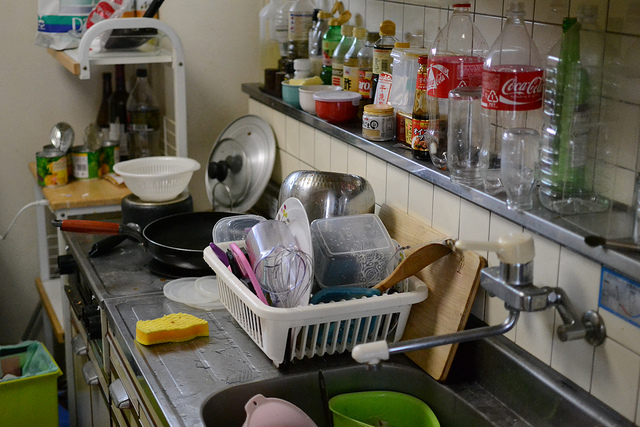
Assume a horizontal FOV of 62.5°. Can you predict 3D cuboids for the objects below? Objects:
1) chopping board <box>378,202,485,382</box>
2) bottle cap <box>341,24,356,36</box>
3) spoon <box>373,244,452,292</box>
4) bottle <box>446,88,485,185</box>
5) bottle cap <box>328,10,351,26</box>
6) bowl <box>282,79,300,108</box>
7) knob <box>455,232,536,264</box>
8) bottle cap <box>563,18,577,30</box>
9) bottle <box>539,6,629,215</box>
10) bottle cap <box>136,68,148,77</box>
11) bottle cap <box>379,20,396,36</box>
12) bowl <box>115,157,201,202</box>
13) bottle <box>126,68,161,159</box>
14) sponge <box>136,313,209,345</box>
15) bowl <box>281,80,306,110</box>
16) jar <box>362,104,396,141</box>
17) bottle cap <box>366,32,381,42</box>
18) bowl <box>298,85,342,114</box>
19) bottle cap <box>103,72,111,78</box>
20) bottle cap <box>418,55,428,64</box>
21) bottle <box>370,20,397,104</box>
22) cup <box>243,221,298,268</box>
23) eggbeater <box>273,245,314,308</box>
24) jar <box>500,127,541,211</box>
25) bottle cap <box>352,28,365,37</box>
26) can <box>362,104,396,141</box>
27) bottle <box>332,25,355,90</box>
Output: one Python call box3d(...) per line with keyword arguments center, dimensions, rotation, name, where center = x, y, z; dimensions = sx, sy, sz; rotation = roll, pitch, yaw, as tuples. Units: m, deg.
box3d(center=(0.314, 0.198, 1.424), dimensions=(0.151, 0.381, 0.301), rotation=(-10, 39, -12), name="chopping board")
box3d(center=(0.109, -0.664, 1.962), dimensions=(0.054, 0.040, 0.056), rotation=(4, 16, 8), name="bottle cap")
box3d(center=(0.247, 0.142, 1.405), dimensions=(0.199, 0.129, 0.084), rotation=(3, 20, 6), name="spoon")
box3d(center=(0.370, -0.189, 1.350), dimensions=(0.088, 0.222, 0.089), rotation=(0, 20, 0), name="bottle")
box3d(center=(0.076, -0.723, 1.999), dimensions=(0.075, 0.027, 0.047), rotation=(-20, 10, 4), name="bottle cap")
box3d(center=(-0.104, -0.470, 2.098), dimensions=(0.096, 0.081, 0.100), rotation=(2, 22, -1), name="bowl")
box3d(center=(0.361, 0.084, 1.091), dimensions=(0.170, 0.062, 0.049), rotation=(-6, 21, -17), name="knob")
box3d(center=(0.533, -0.404, 1.135), dimensions=(0.024, 0.026, 0.024), rotation=(4, 19, 9), name="bottle cap")
box3d(center=(0.568, -0.190, 1.322), dimensions=(0.266, 0.565, 0.138), rotation=(-4, 13, -21), name="bottle")
box3d(center=(-0.821, -0.640, 2.443), dimensions=(0.041, 0.038, 0.043), rotation=(5, 12, 12), name="bottle cap")
box3d(center=(0.227, -0.604, 1.757), dimensions=(0.053, 0.050, 0.055), rotation=(4, 10, 21), name="bottle cap")
box3d(center=(-0.657, -0.140, 2.152), dimensions=(0.316, 0.126, 0.310), rotation=(1, 20, 0), name="bowl")
box3d(center=(-0.825, -0.460, 2.527), dimensions=(0.116, 0.425, 0.136), rotation=(-10, 24, -32), name="bottle")
box3d(center=(-0.422, 0.338, 1.514), dimensions=(0.137, 0.065, 0.207), rotation=(2, 1, 33), name="sponge")
box3d(center=(-0.113, -0.457, 2.058), dimensions=(0.090, 0.073, 0.096), rotation=(1, 6, 0), name="bowl")
box3d(center=(0.189, -0.294, 1.703), dimensions=(0.108, 0.110, 0.113), rotation=(-1, 26, 1), name="jar")
box3d(center=(0.188, -0.623, 1.878), dimensions=(0.035, 0.023, 0.035), rotation=(-13, 24, -33), name="bottle cap")
box3d(center=(0.004, -0.419, 1.966), dimensions=(0.148, 0.100, 0.160), rotation=(1, 20, 0), name="bowl")
box3d(center=(-1.031, -0.664, 2.568), dimensions=(0.027, 0.024, 0.027), rotation=(-1, 11, -16), name="bottle cap")
box3d(center=(0.301, -0.446, 1.543), dimensions=(0.030, 0.030, 0.027), rotation=(1, 12, -17), name="bottle cap")
box3d(center=(0.219, -0.514, 1.822), dimensions=(0.084, 0.269, 0.238), rotation=(3, 20, 7), name="bottle")
box3d(center=(-0.134, 0.088, 1.500), dimensions=(0.110, 0.128, 0.122), rotation=(-7, 44, -29), name="cup")
box3d(center=(-0.072, 0.188, 1.387), dimensions=(0.086, 0.194, 0.086), rotation=(-3, 7, -13), name="eggbeater")
box3d(center=(0.465, -0.102, 1.240), dimensions=(0.085, 0.186, 0.103), rotation=(8, 21, 21), name="jar")
box3d(center=(0.140, -0.639, 1.880), dimensions=(0.031, 0.022, 0.031), rotation=(1, 14, 10), name="bottle cap")
box3d(center=(0.190, -0.296, 1.704), dimensions=(0.110, 0.111, 0.115), rotation=(3, 30, 9), name="can")
box3d(center=(0.095, -0.576, 1.991), dimensions=(0.095, 0.279, 0.096), rotation=(0, 32, 0), name="bottle")
